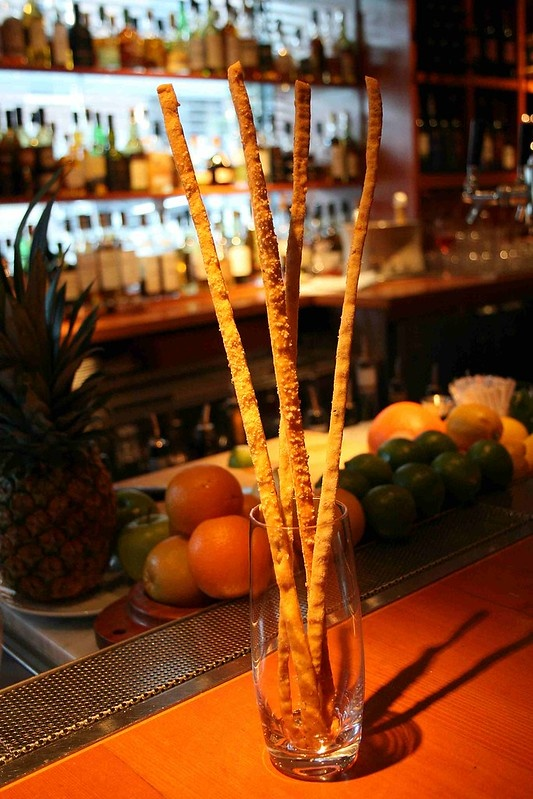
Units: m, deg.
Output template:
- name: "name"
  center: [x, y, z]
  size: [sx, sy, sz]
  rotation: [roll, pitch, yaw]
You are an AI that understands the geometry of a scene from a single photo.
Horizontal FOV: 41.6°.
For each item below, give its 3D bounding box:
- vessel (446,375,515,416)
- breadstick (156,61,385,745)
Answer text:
- name: "vessel"
  center: [0.316, -0.002, 1.032]
  size: [0.068, 0.046, 0.068]
  rotation: [4, -9, -36]
- name: "breadstick"
  center: [0.025, -0.009, 0.398]
  size: [0.122, 0.350, 0.172]
  rotation: [-8, 5, -3]
